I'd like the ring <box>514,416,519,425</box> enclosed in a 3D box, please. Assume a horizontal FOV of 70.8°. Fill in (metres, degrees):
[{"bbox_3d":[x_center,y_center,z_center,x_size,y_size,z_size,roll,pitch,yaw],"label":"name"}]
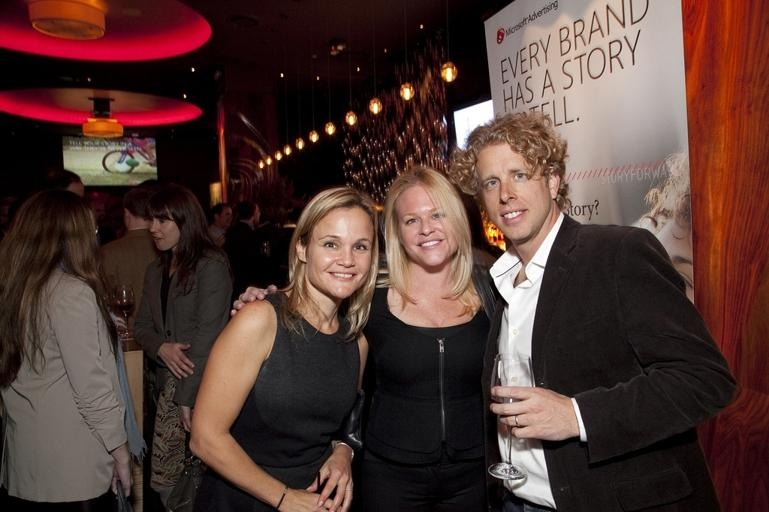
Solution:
[{"bbox_3d":[0.556,0.695,2.300,0.010,0.027,0.023,-6,-13,-1],"label":"ring"}]
